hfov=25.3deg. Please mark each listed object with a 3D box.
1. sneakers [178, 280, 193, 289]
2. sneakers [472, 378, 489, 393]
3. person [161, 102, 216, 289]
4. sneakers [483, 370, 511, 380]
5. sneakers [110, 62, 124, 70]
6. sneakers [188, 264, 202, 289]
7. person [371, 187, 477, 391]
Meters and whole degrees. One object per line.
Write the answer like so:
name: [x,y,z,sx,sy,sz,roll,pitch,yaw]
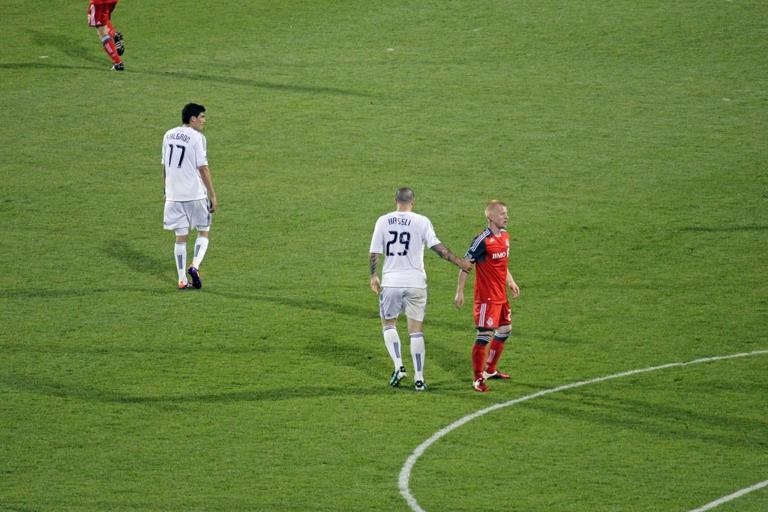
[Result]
sneakers: [-3.654,0.578,31.190,0.106,0.109,0.286,10,13,41]
sneakers: [1.596,2.199,28.712,0.335,0.184,0.148,-3,14,-16]
person: [-3.526,-0.980,30.707,1.000,3.332,0.534,4,10,0]
sneakers: [1.891,2.050,29.109,0.501,0.168,0.159,-1,5,-6]
sneakers: [-5.990,-4.124,38.191,0.202,0.155,0.154,-28,30,-22]
sneakers: [-3.526,0.415,31.066,0.210,0.453,0.227,-13,37,7]
person: [0.372,0.611,28.536,1.331,3.342,0.525,4,10,0]
